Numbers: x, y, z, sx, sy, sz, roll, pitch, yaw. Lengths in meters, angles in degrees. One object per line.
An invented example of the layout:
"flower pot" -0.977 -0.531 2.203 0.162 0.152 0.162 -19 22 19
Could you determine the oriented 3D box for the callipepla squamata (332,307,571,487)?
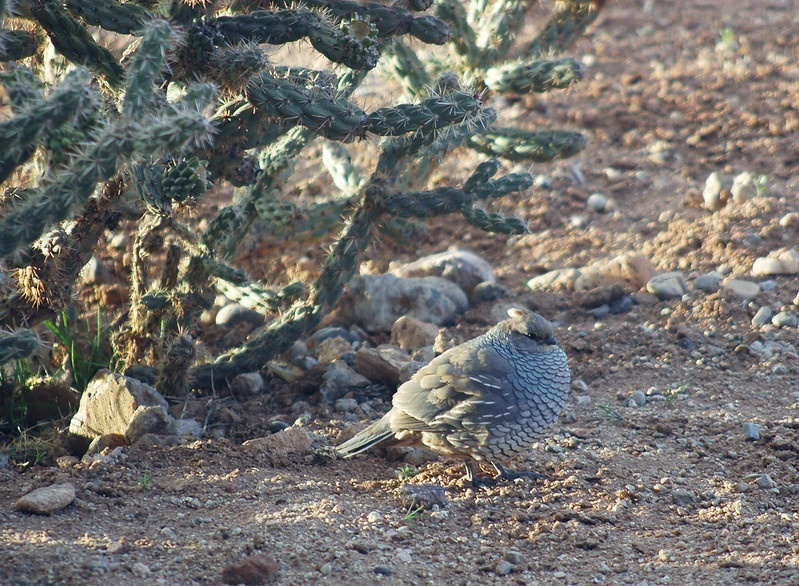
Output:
"callipepla squamata" 0.516 0.639 7.797 1.629 1.073 0.906 3 5 16
